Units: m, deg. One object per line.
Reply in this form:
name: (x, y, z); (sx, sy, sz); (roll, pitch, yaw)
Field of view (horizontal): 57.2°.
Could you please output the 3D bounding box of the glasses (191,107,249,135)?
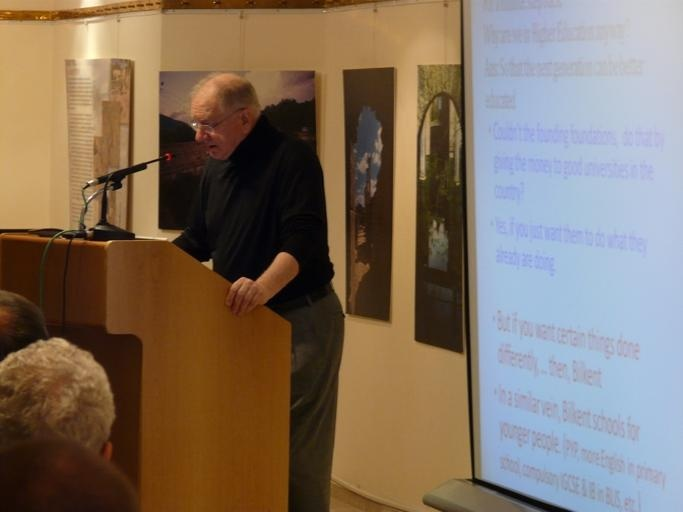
glasses: (-0.514, -0.573, 2.622); (0.148, 0.046, 0.139); (-45, 26, -16)
